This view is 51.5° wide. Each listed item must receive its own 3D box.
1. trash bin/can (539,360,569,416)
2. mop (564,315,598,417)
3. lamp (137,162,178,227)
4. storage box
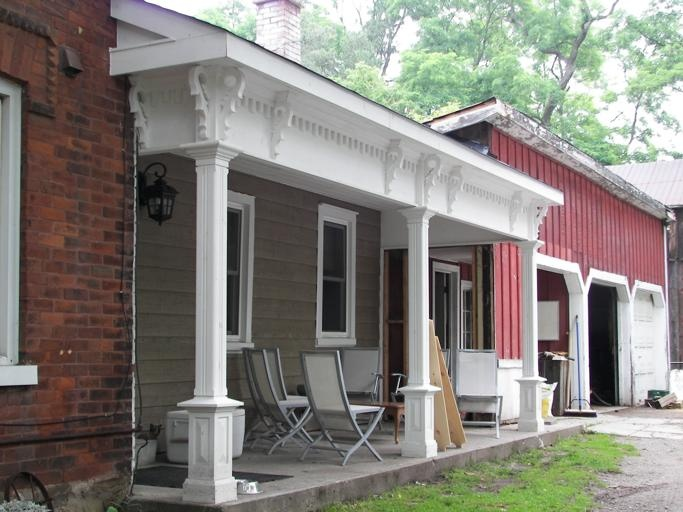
[{"bbox_3d":[4.206,2.542,13.959,0.678,1.122,0.732,-1,-12,3],"label":"trash bin/can"},{"bbox_3d":[4.775,2.155,13.997,0.346,2.022,0.549,3,1,35],"label":"mop"},{"bbox_3d":[-1.792,-0.619,6.844,0.344,0.607,0.243,1,0,-19],"label":"lamp"},{"bbox_3d":[-1.389,1.654,7.326,0.597,0.851,0.617,-1,-6,6],"label":"storage box"}]
